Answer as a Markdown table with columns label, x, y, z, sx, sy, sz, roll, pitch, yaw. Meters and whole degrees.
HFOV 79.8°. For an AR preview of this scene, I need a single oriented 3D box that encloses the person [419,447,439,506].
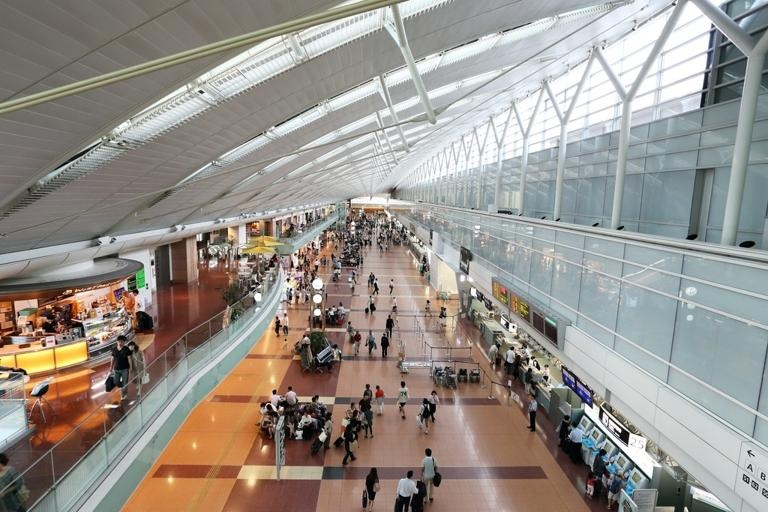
| label | x | y | z | sx | sy | sz | roll | pitch | yaw |
| --- | --- | --- | --- | --- | --- | --- | --- | --- | --- |
| person | 1.426 | 6.825 | 14.407 | 0.426 | 1.720 | 0.571 | -3 | 4 | 4 |

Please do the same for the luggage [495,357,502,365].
| label | x | y | z | sx | sy | sz | roll | pitch | yaw |
| --- | --- | --- | --- | --- | --- | --- | --- | --- | --- |
| luggage | 5.688 | 5.216 | 22.793 | 0.487 | 0.389 | 0.239 | -7 | 6 | -44 |

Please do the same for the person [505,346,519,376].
| label | x | y | z | sx | sy | sz | roll | pitch | yaw |
| --- | --- | --- | --- | --- | --- | --- | --- | --- | --- |
| person | 5.981 | 5.020 | 21.582 | 0.539 | 1.170 | 0.374 | -2 | 4 | 16 |

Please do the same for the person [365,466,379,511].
| label | x | y | z | sx | sy | sz | roll | pitch | yaw |
| --- | --- | --- | --- | --- | --- | --- | --- | --- | --- |
| person | -0.414 | 7.035 | 14.041 | 0.513 | 1.333 | 0.596 | -3 | 4 | -3 |

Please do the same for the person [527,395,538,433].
| label | x | y | z | sx | sy | sz | roll | pitch | yaw |
| --- | --- | --- | --- | --- | --- | --- | --- | --- | --- |
| person | 5.882 | 6.056 | 18.259 | 0.380 | 1.224 | 1.863 | -2 | 4 | 18 |

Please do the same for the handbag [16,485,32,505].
| label | x | y | z | sx | sy | sz | roll | pitch | yaw |
| --- | --- | --- | --- | --- | --- | --- | --- | --- | --- |
| handbag | -7.061 | 4.694 | 9.042 | 0.067 | 0.275 | 0.274 | -7 | -30 | 22 |

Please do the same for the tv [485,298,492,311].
| label | x | y | z | sx | sy | sz | roll | pitch | yaw |
| --- | --- | --- | --- | --- | --- | --- | --- | --- | --- |
| tv | 5.132 | 2.408 | 22.577 | 0.132 | 0.497 | 0.512 | -5 | 15 | -20 |

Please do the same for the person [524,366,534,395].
| label | x | y | z | sx | sy | sz | roll | pitch | yaw |
| --- | --- | --- | --- | --- | --- | --- | --- | --- | --- |
| person | 6.322 | 5.435 | 20.079 | 0.319 | 1.069 | 0.381 | -2 | 4 | 11 |

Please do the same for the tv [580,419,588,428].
| label | x | y | z | sx | sy | sz | roll | pitch | yaw |
| --- | --- | --- | --- | --- | --- | --- | --- | --- | --- |
| tv | 7.337 | 6.170 | 16.885 | 0.043 | 0.214 | 0.308 | 11 | -3 | -11 |

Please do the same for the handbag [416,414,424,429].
| label | x | y | z | sx | sy | sz | roll | pitch | yaw |
| --- | --- | --- | --- | --- | --- | --- | --- | --- | --- |
| handbag | 1.388 | 6.275 | 17.522 | 0.287 | 0.612 | 0.443 | -3 | 4 | 4 |

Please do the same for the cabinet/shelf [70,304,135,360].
| label | x | y | z | sx | sy | sz | roll | pitch | yaw |
| --- | --- | --- | --- | --- | --- | --- | --- | --- | --- |
| cabinet/shelf | -10.974 | 2.983 | 18.374 | 3.240 | 1.041 | 1.291 | -32 | -5 | 31 |

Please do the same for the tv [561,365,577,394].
| label | x | y | z | sx | sy | sz | roll | pitch | yaw |
| --- | --- | --- | --- | --- | --- | --- | --- | --- | --- |
| tv | 6.814 | 4.549 | 16.945 | 0.295 | 0.976 | 1.211 | -2 | 4 | 13 |

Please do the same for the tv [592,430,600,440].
| label | x | y | z | sx | sy | sz | roll | pitch | yaw |
| --- | --- | --- | --- | --- | --- | --- | --- | --- | --- |
| tv | 7.398 | 6.288 | 16.111 | 0.036 | 0.278 | 0.320 | 14 | 1 | -8 |

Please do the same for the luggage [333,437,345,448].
| label | x | y | z | sx | sy | sz | roll | pitch | yaw |
| --- | --- | --- | --- | --- | --- | --- | --- | --- | --- |
| luggage | -1.622 | 6.696 | 16.476 | 0.375 | 0.353 | 0.124 | 0 | -16 | 36 |

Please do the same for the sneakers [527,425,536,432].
| label | x | y | z | sx | sy | sz | roll | pitch | yaw |
| --- | --- | --- | --- | --- | --- | --- | --- | --- | --- |
| sneakers | 5.665 | 6.626 | 17.703 | 0.279 | 0.268 | 0.145 | -3 | 21 | -8 |

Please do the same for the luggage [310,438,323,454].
| label | x | y | z | sx | sy | sz | roll | pitch | yaw |
| --- | --- | --- | --- | --- | --- | --- | --- | --- | --- |
| luggage | -2.354 | 6.728 | 16.253 | 0.350 | 0.476 | 0.160 | 19 | 0 | 37 |

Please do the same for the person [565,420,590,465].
| label | x | y | z | sx | sy | sz | roll | pitch | yaw |
| --- | --- | --- | --- | --- | --- | --- | --- | --- | --- |
| person | 6.698 | 6.636 | 16.244 | 0.606 | 1.202 | 0.559 | -1 | 5 | 28 |
